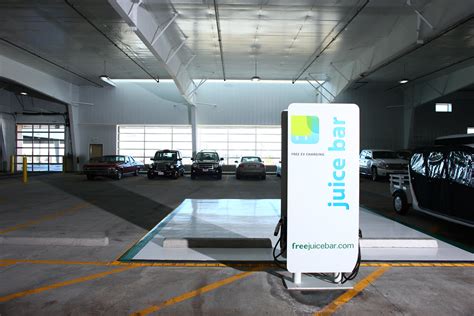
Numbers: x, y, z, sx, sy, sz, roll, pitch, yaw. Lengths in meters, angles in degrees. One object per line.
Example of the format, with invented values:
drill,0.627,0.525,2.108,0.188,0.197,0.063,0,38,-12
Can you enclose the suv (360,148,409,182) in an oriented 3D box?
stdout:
suv,9.312,0.420,18.436,2.231,1.372,3.779,0,-3,0

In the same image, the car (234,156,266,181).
car,0.894,0.750,20.093,1.872,1.593,1.342,0,11,-2

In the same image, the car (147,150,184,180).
car,-5.024,0.502,20.589,1.914,2.044,2.206,1,11,2
